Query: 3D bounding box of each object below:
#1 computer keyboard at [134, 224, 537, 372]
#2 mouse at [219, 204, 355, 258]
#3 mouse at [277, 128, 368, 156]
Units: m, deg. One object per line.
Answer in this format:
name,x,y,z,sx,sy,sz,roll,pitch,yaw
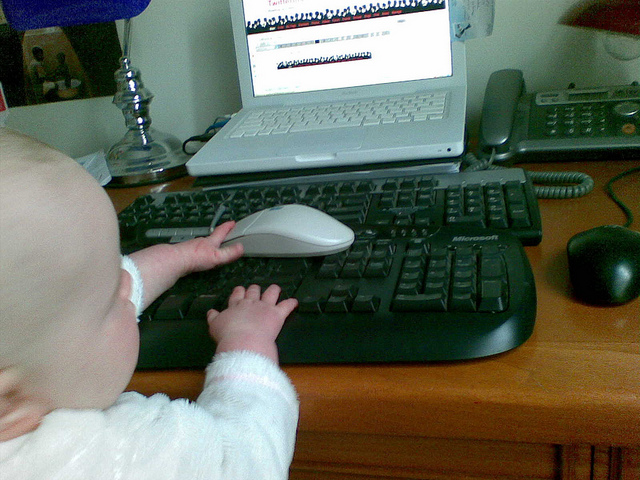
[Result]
computer keyboard,0.019,0.059,0.489,0.347,0.029,0.160,-1,24,10
mouse,-0.033,-0.013,0.572,0.125,0.030,0.063,2,18,14
mouse,0.005,-0.153,0.789,0.135,0.025,0.074,2,48,9
